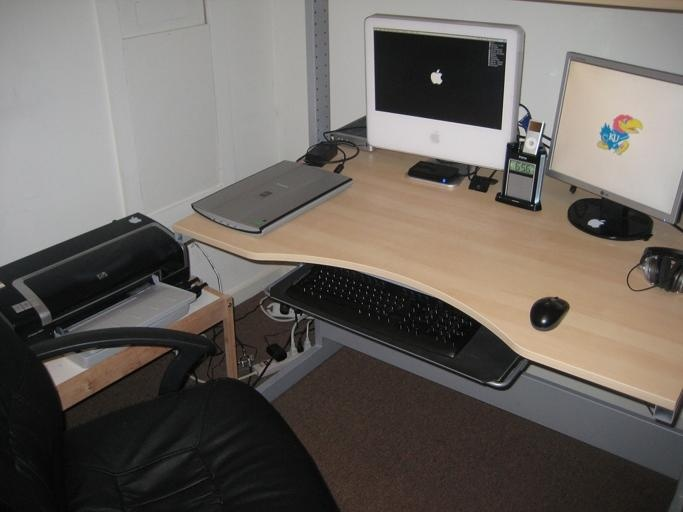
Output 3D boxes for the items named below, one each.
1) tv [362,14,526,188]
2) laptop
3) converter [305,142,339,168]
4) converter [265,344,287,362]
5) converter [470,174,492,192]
[{"bbox_3d":[0.364,-0.542,1.867,0.553,0.489,0.201,16,39,23],"label":"tv"},{"bbox_3d":[-0.234,-0.216,1.858,0.295,0.054,0.399,21,40,34],"label":"laptop"},{"bbox_3d":[-0.088,-0.402,2.094,0.075,0.036,0.136,9,37,14],"label":"converter"},{"bbox_3d":[-0.297,0.437,2.439,0.097,0.044,0.075,30,44,35],"label":"converter"},{"bbox_3d":[0.508,-0.257,1.931,0.065,0.016,0.068,18,58,22],"label":"converter"}]
